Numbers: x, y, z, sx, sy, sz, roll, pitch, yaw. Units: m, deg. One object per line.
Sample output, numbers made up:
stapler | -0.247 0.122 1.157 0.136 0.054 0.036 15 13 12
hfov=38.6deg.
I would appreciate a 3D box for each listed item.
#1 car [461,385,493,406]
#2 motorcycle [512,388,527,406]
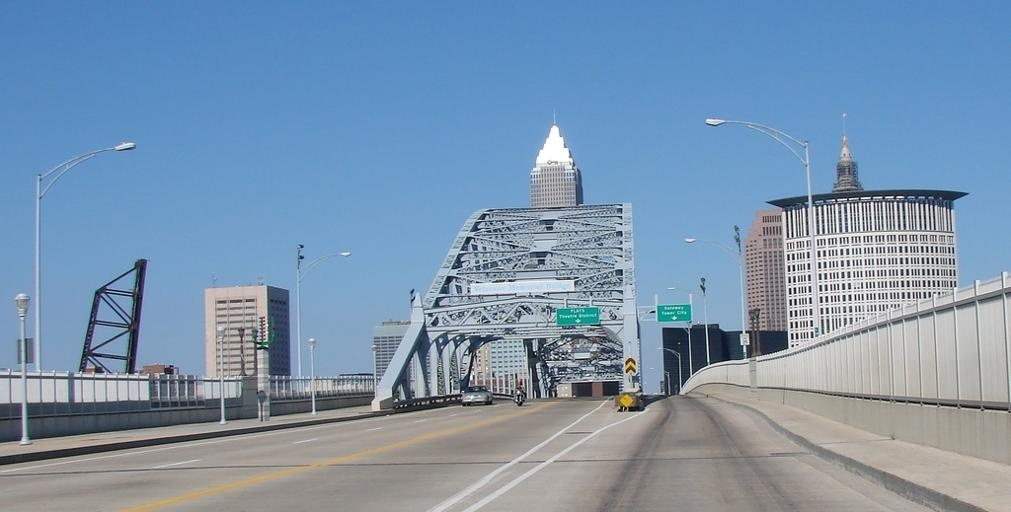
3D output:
car | -2.571 12.394 127.158 2.301 1.832 2.657 -5 -11 13
motorcycle | 1.139 12.502 126.477 1.053 1.003 1.955 -1 -5 4
